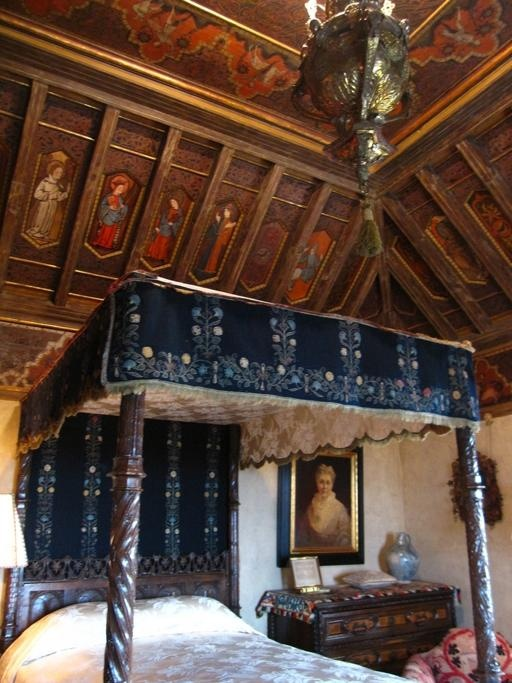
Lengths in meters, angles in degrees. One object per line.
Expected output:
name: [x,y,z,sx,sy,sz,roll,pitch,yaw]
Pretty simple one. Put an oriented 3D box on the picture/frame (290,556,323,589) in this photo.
picture/frame: [0.447,2.106,5.118,0.393,0.321,0.049,16,-49,-38]
